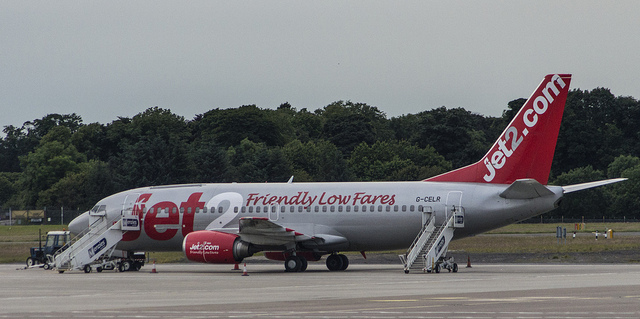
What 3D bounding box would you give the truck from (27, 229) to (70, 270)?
[{"bbox_3d":[-28.827,9.368,100.109,5.574,3.666,2.776,-6,-5,25],"label":"truck"}]
